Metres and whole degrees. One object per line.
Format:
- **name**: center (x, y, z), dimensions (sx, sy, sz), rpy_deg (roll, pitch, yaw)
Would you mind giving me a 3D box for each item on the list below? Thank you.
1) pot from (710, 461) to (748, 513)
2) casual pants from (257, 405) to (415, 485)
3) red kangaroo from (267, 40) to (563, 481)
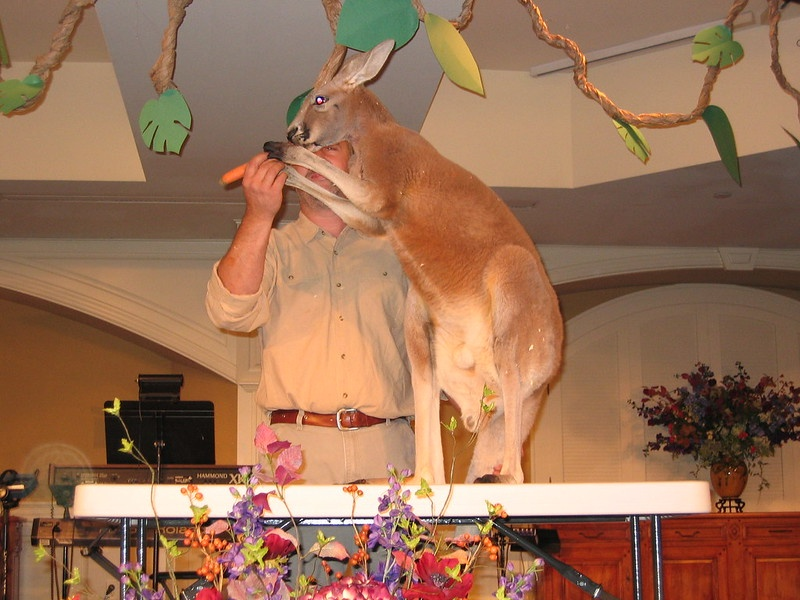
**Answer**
- **pot**: center (2.755, 1.553, 9.613), dimensions (0.305, 0.419, 0.290), rpy_deg (-3, -10, -1)
- **casual pants**: center (-0.217, 0.767, 5.885), dimensions (0.698, 0.434, 0.389), rpy_deg (1, -18, -12)
- **red kangaroo**: center (0.163, -0.162, 5.522), dimensions (1.186, 2.036, 0.573), rpy_deg (9, -20, -35)
